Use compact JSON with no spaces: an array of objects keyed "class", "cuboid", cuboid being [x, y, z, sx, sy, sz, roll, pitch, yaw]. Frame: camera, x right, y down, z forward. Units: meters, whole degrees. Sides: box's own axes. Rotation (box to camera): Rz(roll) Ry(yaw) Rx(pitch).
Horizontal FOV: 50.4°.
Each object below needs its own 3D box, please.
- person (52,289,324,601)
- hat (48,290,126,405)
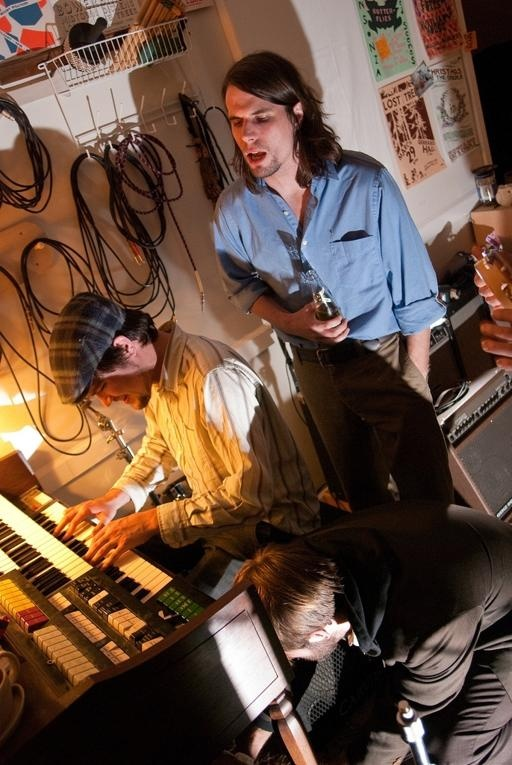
[{"class":"person","cuboid":[-0.222,0.044,2.177,0.975,1.076,0.856,-24,13,-21]},{"class":"hat","cuboid":[-0.512,-0.128,1.812,0.227,0.126,0.341,-15,59,44]}]
